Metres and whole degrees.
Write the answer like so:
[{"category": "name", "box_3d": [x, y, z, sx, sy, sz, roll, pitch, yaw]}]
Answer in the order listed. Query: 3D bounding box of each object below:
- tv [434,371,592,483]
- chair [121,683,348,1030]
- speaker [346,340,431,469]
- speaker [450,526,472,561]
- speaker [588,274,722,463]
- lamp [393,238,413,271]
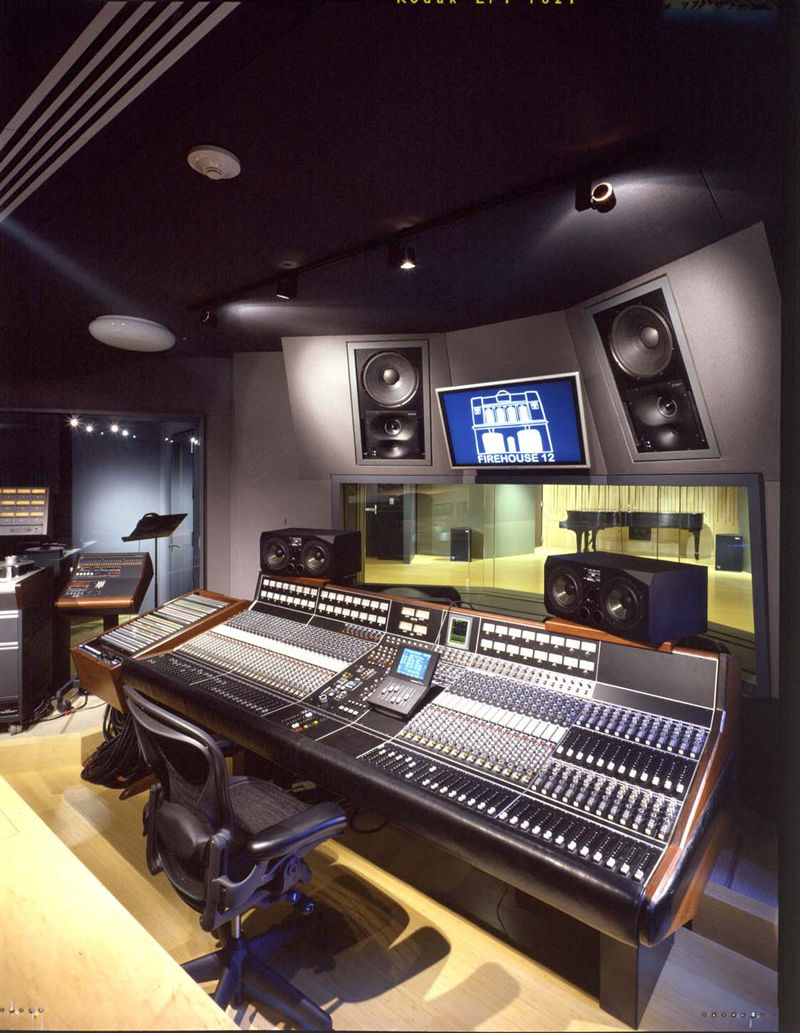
[{"category": "tv", "box_3d": [0.402, -0.340, 2.590, 0.656, 0.358, 0.144, -3, 1, 44]}, {"category": "chair", "box_3d": [-0.422, 0.845, 1.805, 0.494, 0.851, 0.533, -4, 0, -21]}, {"category": "speaker", "box_3d": [-0.041, -0.497, 3.050, 0.387, 0.520, 0.191, -3, 0, 18]}, {"category": "speaker", "box_3d": [0.303, 0.138, 3.498, 0.110, 0.169, 0.111, -3, 0, 2]}, {"category": "speaker", "box_3d": [0.781, -0.439, 2.185, 0.154, 0.532, 0.337, -3, 0, -23]}, {"category": "lamp", "box_3d": [0.010, -0.835, 2.212, 0.069, 0.117, 0.068, 2, 8, 20]}]
